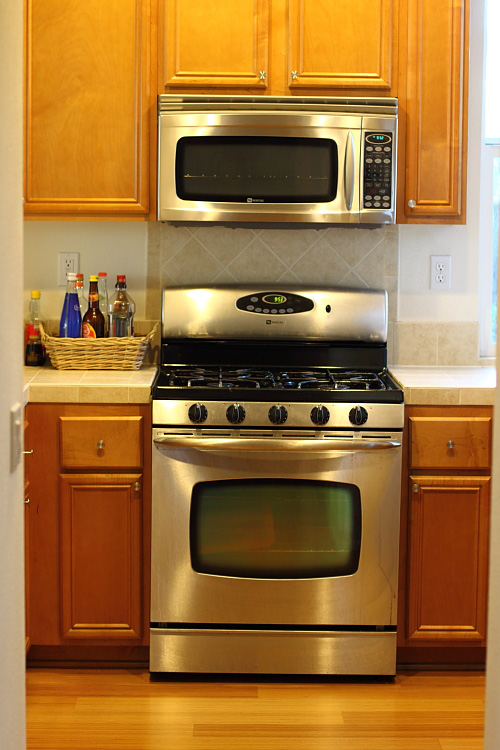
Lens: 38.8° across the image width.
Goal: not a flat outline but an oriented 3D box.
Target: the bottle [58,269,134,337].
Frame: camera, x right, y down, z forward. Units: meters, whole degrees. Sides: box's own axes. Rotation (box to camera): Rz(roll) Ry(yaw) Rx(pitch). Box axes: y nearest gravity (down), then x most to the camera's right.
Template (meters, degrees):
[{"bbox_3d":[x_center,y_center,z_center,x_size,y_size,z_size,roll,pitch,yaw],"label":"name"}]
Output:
[{"bbox_3d":[-0.515,-0.236,2.356,0.201,0.251,0.080,-1,3,-12],"label":"bottle"}]

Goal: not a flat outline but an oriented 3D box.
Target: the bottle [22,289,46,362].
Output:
[{"bbox_3d":[-0.714,-0.157,2.357,0.062,0.240,0.191,0,4,-16],"label":"bottle"}]

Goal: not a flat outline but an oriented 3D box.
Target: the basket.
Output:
[{"bbox_3d":[-0.490,-0.083,2.233,0.347,0.135,0.151,0,5,-12],"label":"basket"}]

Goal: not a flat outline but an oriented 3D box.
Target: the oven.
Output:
[{"bbox_3d":[0.089,0.386,2.235,0.766,0.935,0.615,0,-2,0],"label":"oven"}]

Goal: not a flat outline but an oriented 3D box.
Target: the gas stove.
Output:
[{"bbox_3d":[0.080,0.018,2.095,0.733,0.232,0.440,1,5,-2],"label":"gas stove"}]
